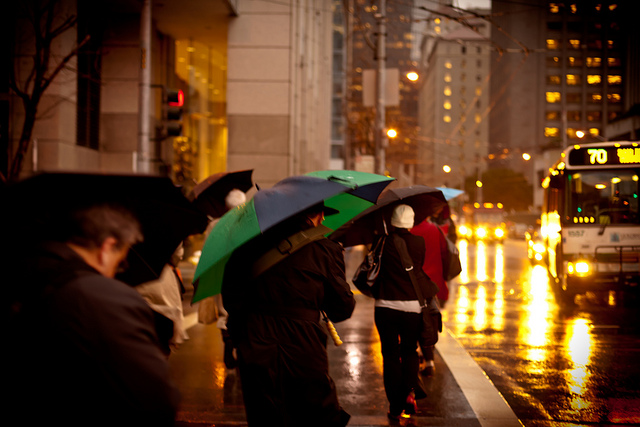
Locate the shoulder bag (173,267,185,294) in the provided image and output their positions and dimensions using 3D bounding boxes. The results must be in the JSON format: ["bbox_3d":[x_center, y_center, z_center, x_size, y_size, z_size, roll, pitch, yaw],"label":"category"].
[{"bbox_3d":[-2.094,1.006,11.633,0.073,0.313,0.305,-23,12,-8],"label":"shoulder bag"}]

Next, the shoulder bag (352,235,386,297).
[{"bbox_3d":[0.754,0.824,11.872,0.484,0.962,0.325,1,8,7],"label":"shoulder bag"}]

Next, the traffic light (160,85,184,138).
[{"bbox_3d":[-3.274,-2.208,17.183,0.415,1.167,0.296,1,8,-5],"label":"traffic light"}]

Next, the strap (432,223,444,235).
[{"bbox_3d":[2.116,0.284,14.005,0.138,0.035,0.137,47,-4,38],"label":"strap"}]

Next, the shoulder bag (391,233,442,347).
[{"bbox_3d":[1.436,1.261,12.000,0.393,1.760,0.616,-13,-1,-29],"label":"shoulder bag"}]

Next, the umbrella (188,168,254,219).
[{"bbox_3d":[-1.743,-0.432,13.870,0.974,0.995,0.819,-32,57,-34],"label":"umbrella"}]
